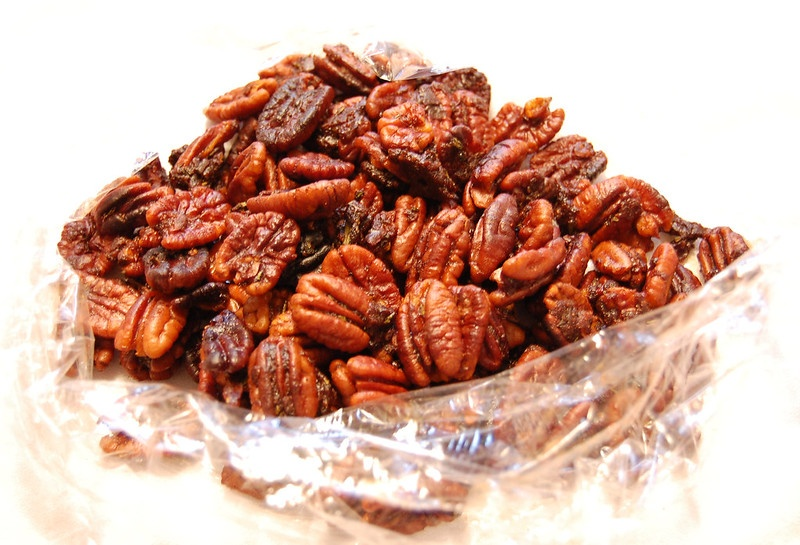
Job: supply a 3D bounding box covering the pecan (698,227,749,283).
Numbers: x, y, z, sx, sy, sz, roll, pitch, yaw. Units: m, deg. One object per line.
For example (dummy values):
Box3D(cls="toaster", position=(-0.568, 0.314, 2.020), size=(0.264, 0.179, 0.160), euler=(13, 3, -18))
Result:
Box3D(cls="pecan", position=(0.858, -0.062, 1.938), size=(0.133, 0.135, 0.045), euler=(22, -3, 38))
